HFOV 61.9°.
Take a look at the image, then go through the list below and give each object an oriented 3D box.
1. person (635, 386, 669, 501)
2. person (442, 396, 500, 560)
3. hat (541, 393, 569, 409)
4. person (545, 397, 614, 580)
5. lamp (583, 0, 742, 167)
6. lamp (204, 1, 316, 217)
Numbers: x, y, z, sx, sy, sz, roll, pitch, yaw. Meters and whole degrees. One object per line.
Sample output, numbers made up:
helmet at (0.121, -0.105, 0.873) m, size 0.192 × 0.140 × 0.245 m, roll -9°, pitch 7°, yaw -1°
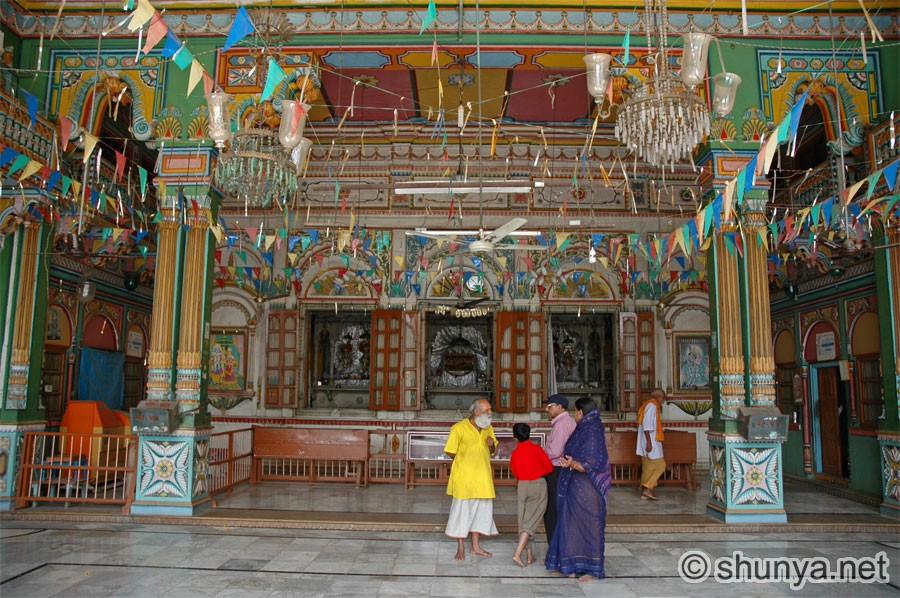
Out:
person at (3.606, 2.677, 13.509) m, size 0.550 × 1.895 × 1.185 m, roll 2°, pitch 8°, yaw 15°
person at (0.296, 2.488, 10.320) m, size 0.703 × 2.093 × 0.542 m, roll -1°, pitch 8°, yaw -7°
hat at (1.394, 1.380, 10.397) m, size 0.303 × 0.162 × 0.399 m, roll 8°, pitch -6°, yaw -44°
person at (1.689, 2.451, 9.820) m, size 0.752 × 2.270 × 0.621 m, roll 2°, pitch 8°, yaw 12°
lamp at (3.131, -3.319, 10.869) m, size 1.821 × 2.750 × 3.381 m, roll 3°, pitch 9°, yaw 17°
lamp at (-2.799, -2.914, 11.276) m, size 1.528 × 2.964 × 4.287 m, roll -2°, pitch 9°, yaw -15°
